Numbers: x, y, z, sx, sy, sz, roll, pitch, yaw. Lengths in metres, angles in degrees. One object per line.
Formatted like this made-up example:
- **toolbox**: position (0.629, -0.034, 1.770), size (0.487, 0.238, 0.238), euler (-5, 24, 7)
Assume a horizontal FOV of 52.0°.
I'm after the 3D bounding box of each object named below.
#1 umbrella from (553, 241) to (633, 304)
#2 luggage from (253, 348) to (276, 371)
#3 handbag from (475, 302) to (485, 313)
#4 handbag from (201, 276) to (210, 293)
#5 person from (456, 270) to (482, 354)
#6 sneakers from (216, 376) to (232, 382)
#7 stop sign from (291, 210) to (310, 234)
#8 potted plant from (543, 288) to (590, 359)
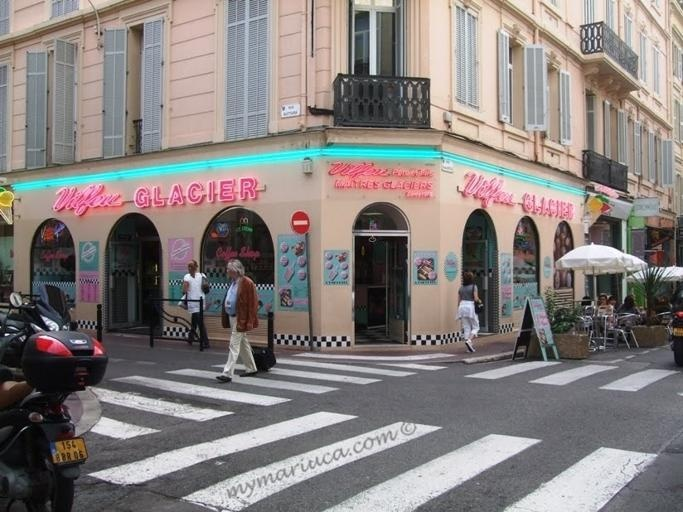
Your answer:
- **umbrella**: position (6.815, 0.142, 18.596), size (1.733, 1.485, 2.032), euler (0, 0, 15)
- **luggage**: position (-1.450, 1.969, 13.443), size (0.355, 0.473, 0.477), euler (-8, 1, -43)
- **handbag**: position (3.337, 1.281, 17.064), size (0.218, 0.258, 0.236), euler (-2, 6, -30)
- **handbag**: position (-3.425, 0.747, 17.307), size (0.240, 0.387, 0.364), euler (1, -1, -12)
- **person**: position (3.088, 1.363, 16.948), size (0.544, 1.881, 1.230), euler (0, 2, -1)
- **sneakers**: position (-2.092, 2.179, 12.372), size (0.277, 0.120, 0.164), euler (0, 2, 5)
- **stop sign**: position (-0.953, -0.787, 16.518), size (0.474, 0.646, 0.112), euler (2, -4, -3)
- **potted plant**: position (5.392, 1.691, 16.873), size (1.170, 2.044, 1.151), euler (0, -6, -13)
